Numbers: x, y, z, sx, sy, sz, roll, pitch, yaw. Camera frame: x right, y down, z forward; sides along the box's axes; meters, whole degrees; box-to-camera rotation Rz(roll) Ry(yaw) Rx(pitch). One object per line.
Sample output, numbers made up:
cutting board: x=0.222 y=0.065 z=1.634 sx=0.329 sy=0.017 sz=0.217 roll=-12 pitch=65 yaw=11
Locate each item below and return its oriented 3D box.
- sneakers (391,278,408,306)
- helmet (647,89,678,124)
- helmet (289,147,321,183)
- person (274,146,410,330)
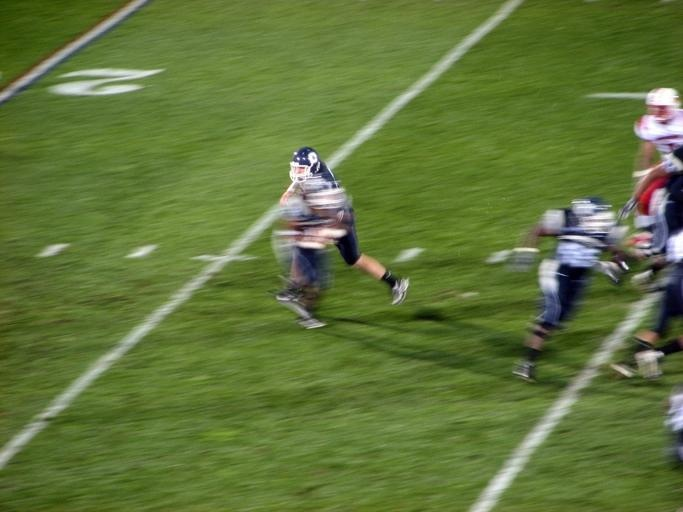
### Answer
sneakers: x=0.475 y=0.292 z=7.889 sx=0.182 sy=0.095 sz=0.239 roll=12 pitch=54 yaw=9
helmet: x=2.725 y=-1.300 z=8.138 sx=0.269 sy=0.256 sz=0.287 roll=12 pitch=26 yaw=5
helmet: x=-0.300 y=-0.745 z=7.828 sx=0.237 sy=0.310 sz=0.275 roll=3 pitch=28 yaw=-14
person: x=-0.065 y=-0.134 z=7.864 sx=0.891 sy=1.495 sz=1.108 roll=-17 pitch=39 yaw=-39
